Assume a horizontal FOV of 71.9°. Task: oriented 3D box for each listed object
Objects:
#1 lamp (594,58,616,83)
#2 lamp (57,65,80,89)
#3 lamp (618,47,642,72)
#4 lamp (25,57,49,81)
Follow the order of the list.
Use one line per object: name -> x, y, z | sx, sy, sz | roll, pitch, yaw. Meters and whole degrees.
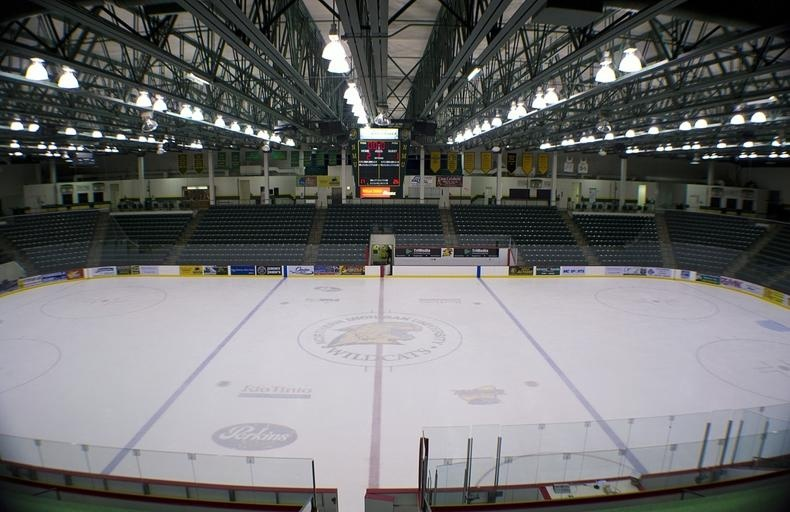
lamp -> 6.898, -6.115, 17.879 | 0.548, 0.703, 0.723 | 4, 8, 22
lamp -> -11.548, -6.260, 19.300 | 0.851, 0.899, 0.829 | -1, 13, -23
lamp -> 7.406, -6.103, 17.139 | 0.804, 0.758, 0.793 | -5, 11, -5
lamp -> -11.941, -6.252, 18.118 | 0.563, 0.713, 0.514 | -4, 9, -33
